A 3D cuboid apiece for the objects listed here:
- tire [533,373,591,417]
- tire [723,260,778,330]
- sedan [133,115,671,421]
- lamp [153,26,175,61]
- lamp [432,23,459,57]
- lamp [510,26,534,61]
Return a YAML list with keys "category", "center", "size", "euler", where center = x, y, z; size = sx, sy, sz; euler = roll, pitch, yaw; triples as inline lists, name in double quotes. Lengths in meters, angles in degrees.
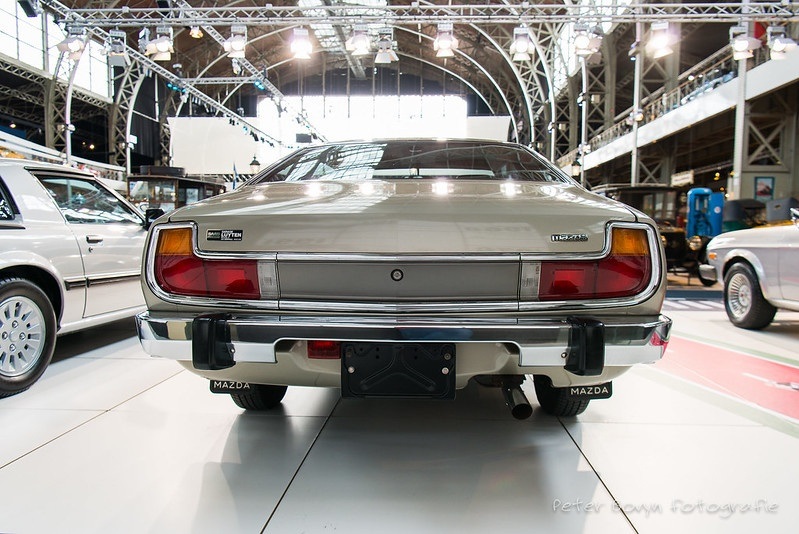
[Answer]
- category: "tire"
  center: [1.159, 0.912, 3.650]
  size: [0.184, 0.471, 0.457]
  euler: [-1, -7, -7]
- category: "tire"
  center: [4.284, 0.340, 6.327]
  size: [0.252, 0.793, 0.775]
  euler: [0, 0, 6]
- category: "sedan"
  center: [0.054, 0.081, 3.784]
  size: [3.306, 2.192, 1.568]
  euler: [1, 7, 3]
- category: "lamp"
  center: [-5.552, -5.469, 12.220]
  size: [0.341, 0.623, 0.287]
  euler: [2, 22, -20]
- category: "lamp"
  center: [1.056, -5.357, 11.969]
  size: [0.685, 0.699, 0.705]
  euler: [0, 22, 3]
- category: "lamp"
  center: [2.765, -5.148, 11.827]
  size: [0.431, 0.609, 0.461]
  euler: [0, 4, 1]
